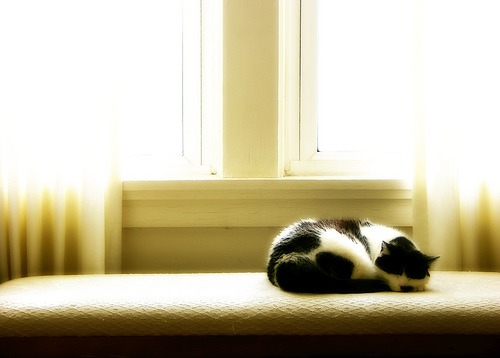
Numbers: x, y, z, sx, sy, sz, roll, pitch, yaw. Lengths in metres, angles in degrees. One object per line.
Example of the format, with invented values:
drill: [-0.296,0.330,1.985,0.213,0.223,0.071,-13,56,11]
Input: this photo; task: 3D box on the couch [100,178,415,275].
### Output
couch: [0.041,0.200,1.918,1.451,0.313,0.203,-6,-15,42]

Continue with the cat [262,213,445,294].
cat: [0.319,0.254,1.500,0.408,0.124,0.297,1,-1,-4]
